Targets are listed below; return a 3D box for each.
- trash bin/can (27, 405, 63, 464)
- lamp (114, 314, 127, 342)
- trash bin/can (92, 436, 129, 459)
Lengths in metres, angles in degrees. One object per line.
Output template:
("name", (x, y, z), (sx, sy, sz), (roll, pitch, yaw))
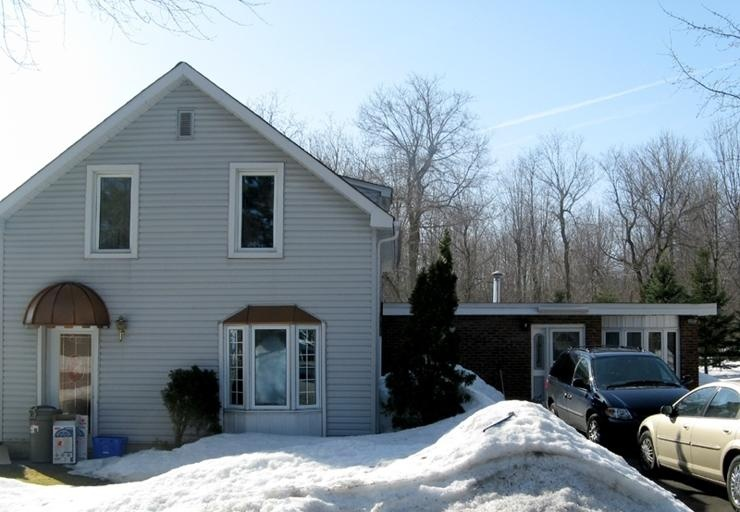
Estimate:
("trash bin/can", (-9.226, 5.001, 23.827), (0.827, 1.572, 0.477), (-1, -7, -9))
("lamp", (-7.269, 2.078, 24.675), (0.348, 0.755, 0.232), (-1, -8, -13))
("trash bin/can", (-7.475, 5.380, 24.128), (0.624, 0.445, 0.661), (0, -5, -2))
